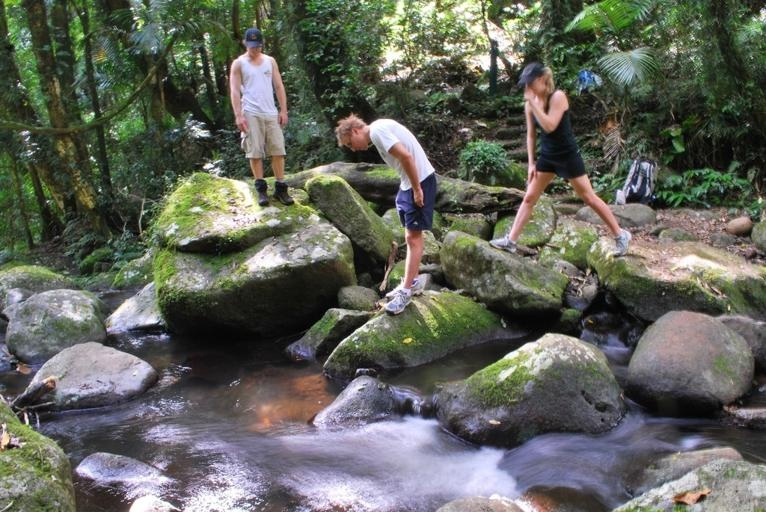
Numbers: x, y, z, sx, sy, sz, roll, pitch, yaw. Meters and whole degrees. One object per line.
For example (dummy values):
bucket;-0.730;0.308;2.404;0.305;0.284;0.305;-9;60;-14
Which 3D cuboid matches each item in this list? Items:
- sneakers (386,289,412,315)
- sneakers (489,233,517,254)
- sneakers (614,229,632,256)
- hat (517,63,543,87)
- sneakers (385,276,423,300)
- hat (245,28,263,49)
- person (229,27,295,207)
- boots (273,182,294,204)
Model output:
sneakers;0.194;0.661;9.945;0.205;0.235;0.590;20;31;23
sneakers;1.926;-0.197;10.621;0.412;0.187;0.228;18;6;-10
sneakers;3.663;-0.276;10.257;0.227;0.520;0.170;1;6;-10
hat;2.180;-2.634;9.721;0.386;0.203;0.279;-36;29;6
sneakers;0.335;0.504;10.364;0.482;0.195;0.161;-29;54;-30
hat;-2.139;-3.618;10.938;0.235;0.182;0.357;-5;50;-14
person;-2.024;-2.161;11.177;0.870;2.647;0.476;-10;16;-14
boots;-1.652;-1.105;11.545;0.207;0.344;0.514;-14;30;-43
